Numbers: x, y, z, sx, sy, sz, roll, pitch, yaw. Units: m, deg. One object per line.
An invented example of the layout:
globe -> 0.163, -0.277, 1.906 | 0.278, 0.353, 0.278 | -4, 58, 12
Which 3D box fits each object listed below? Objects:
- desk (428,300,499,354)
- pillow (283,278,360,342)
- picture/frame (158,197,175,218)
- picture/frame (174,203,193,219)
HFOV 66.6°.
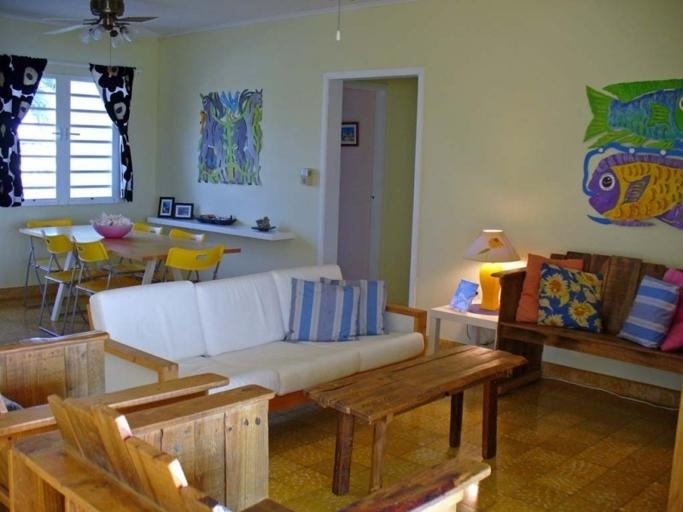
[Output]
desk -> 1.074, 0.542, 4.414 | 0.463, 0.348, 0.471 | 4, 4, 43
pillow -> -0.140, 0.423, 3.845 | 0.515, 0.460, 0.153 | 4, -8, -8
picture/frame -> -2.392, -0.669, 7.180 | 0.269, 0.313, 0.022 | 6, 4, 33
picture/frame -> -2.106, -0.603, 7.001 | 0.379, 0.209, 0.146 | 8, 12, 32
